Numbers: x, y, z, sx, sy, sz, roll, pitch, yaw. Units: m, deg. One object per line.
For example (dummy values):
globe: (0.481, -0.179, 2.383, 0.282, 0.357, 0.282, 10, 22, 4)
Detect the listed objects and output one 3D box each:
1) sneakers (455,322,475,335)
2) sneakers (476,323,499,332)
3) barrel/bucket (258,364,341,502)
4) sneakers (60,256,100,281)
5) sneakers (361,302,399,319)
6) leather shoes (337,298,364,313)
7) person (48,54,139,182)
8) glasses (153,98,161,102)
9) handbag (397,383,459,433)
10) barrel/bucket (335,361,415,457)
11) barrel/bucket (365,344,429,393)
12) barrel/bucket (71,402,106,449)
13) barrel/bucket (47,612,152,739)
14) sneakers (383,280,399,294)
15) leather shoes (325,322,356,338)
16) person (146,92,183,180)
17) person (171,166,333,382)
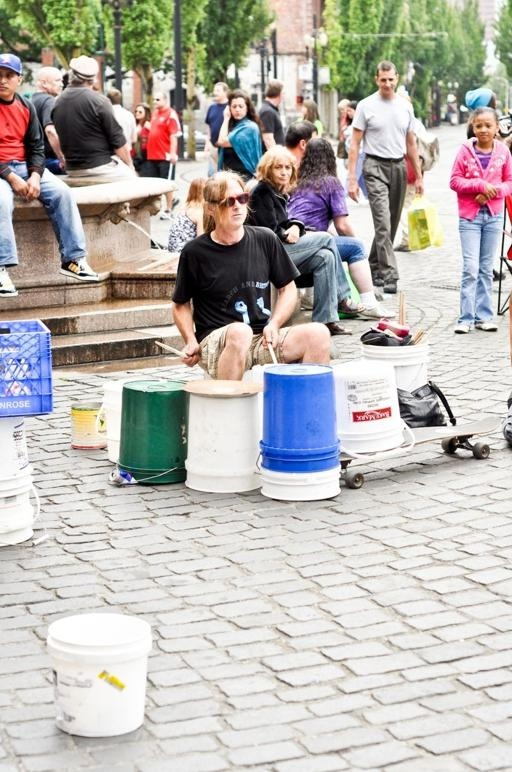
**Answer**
sneakers: (1.619, -0.449, 9.543, 0.070, 0.075, 0.202, 6, -2, 18)
sneakers: (1.839, -0.467, 9.704, 0.067, 0.064, 0.175, -2, 2, -34)
barrel/bucket: (0.190, 0.225, 5.342, 0.339, 0.602, 0.188, -2, 13, 0)
sneakers: (-1.311, -0.892, 9.418, 0.359, 0.205, 0.120, 4, 14, 6)
sneakers: (1.012, -0.614, 10.121, 0.385, 0.153, 0.133, 3, 17, 6)
leather shoes: (0.798, -0.659, 10.153, 0.254, 0.098, 0.085, 5, 15, 31)
person: (-1.371, -2.161, 10.511, 0.622, 1.180, 0.730, 9, 15, 25)
glasses: (-1.576, -4.591, 19.628, 0.066, 0.090, 0.325, -5, 12, -12)
handbag: (0.869, 0.116, 6.201, 0.130, 0.176, 0.190, -22, 7, 32)
barrel/bucket: (0.564, 0.089, 5.704, 0.437, 0.358, 0.354, -17, 14, -28)
barrel/bucket: (0.750, -0.118, 6.170, 0.282, 0.245, 0.269, -2, 8, 0)
barrel/bucket: (-0.861, 0.201, 6.369, 0.239, 0.235, 0.226, 1, 9, 0)
barrel/bucket: (-0.436, 0.759, 3.338, 0.316, 0.251, 0.298, 2, 9, 0)
sneakers: (1.273, -0.935, 11.540, 0.155, 0.161, 0.415, -1, 1, 6)
leather shoes: (0.688, -0.448, 9.487, 0.279, 0.106, 0.095, 4, 24, -3)
person: (-1.490, -4.017, 19.653, 0.504, 1.356, 0.944, -4, 13, -9)
person: (-0.038, -0.552, 6.053, 0.737, 1.000, 0.695, -4, 13, -9)
